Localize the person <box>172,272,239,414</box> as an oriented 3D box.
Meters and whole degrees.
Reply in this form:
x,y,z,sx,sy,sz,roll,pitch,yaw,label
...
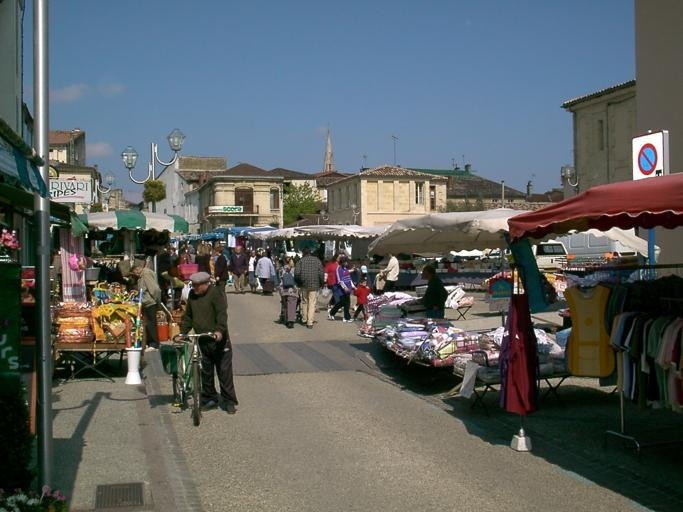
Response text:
x,y,z,sx,sy,sz,roll,pitch,yaw,label
-1.913,1.229,11.415,0.737,2.067,0.798,1,11,16,person

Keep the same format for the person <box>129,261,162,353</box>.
x,y,z,sx,sy,sz,roll,pitch,yaw,label
-3.791,0.932,15.498,0.633,1.925,0.776,3,7,-17,person

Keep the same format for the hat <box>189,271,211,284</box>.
x,y,z,sx,sy,sz,roll,pitch,yaw,label
-2.045,0.310,11.355,0.291,0.151,0.329,-1,6,-14,hat

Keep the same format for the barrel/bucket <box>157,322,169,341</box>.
x,y,z,sx,sy,sz,roll,pitch,yaw,label
-3.721,1.593,16.426,0.312,0.339,0.316,0,-5,0,barrel/bucket

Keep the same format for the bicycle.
x,y,z,sx,sy,sz,roll,pitch,yaw,label
-2.123,1.678,11.256,0.439,1.177,1.209,-2,6,-21,bicycle

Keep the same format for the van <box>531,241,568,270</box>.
x,y,z,sx,sy,sz,roll,pitch,yaw,label
7.470,-0.008,27.825,0.966,0.867,1.789,-1,7,5,van
